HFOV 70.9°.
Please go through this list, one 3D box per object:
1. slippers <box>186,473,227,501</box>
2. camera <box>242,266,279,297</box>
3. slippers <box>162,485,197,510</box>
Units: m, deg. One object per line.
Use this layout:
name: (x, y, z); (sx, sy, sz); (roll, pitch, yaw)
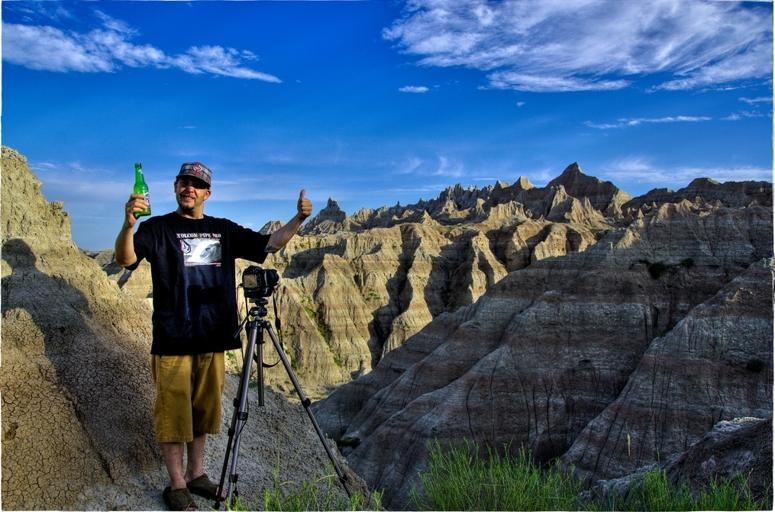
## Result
slippers: (-3.168, 4.000, 9.417); (0.842, 0.351, 0.308); (9, -4, 17)
camera: (-2.246, 0.448, 9.686); (0.494, 0.578, 0.790); (-2, -7, 9)
slippers: (-3.504, 4.048, 9.080); (0.756, 0.390, 0.236); (2, 3, 29)
